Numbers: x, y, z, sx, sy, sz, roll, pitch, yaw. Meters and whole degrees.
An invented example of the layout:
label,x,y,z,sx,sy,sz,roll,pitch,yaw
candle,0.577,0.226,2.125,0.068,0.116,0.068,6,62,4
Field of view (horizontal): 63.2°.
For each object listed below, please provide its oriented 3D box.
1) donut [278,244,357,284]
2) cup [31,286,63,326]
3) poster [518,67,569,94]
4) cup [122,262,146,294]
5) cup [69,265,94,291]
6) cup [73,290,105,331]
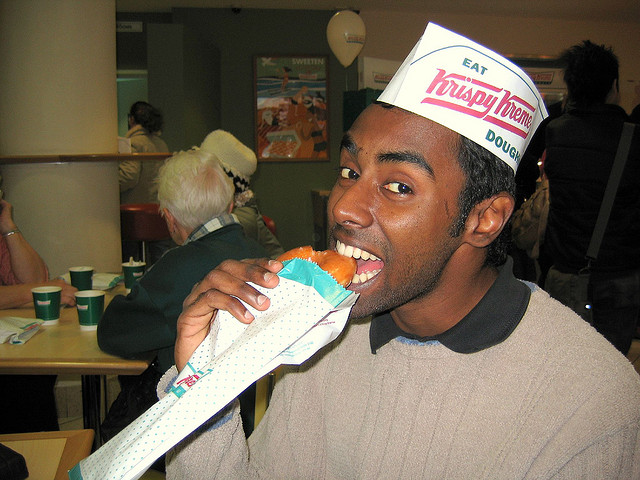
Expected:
label,x,y,z,sx,sy,sz,roll,pitch,yaw
donut,0.009,0.051,1.310,0.117,0.048,0.121,13,11,-2
cup,-1.210,0.287,2.348,0.146,0.169,0.156,1,6,0
poster,3.215,-2.264,7.408,0.514,0.336,0.356,2,20,-3
cup,-0.953,0.194,2.678,0.126,0.145,0.133,4,9,-1
cup,-1.266,0.200,2.780,0.115,0.129,0.114,2,6,0
cup,-1.033,0.322,2.334,0.138,0.165,0.146,-5,-5,0
